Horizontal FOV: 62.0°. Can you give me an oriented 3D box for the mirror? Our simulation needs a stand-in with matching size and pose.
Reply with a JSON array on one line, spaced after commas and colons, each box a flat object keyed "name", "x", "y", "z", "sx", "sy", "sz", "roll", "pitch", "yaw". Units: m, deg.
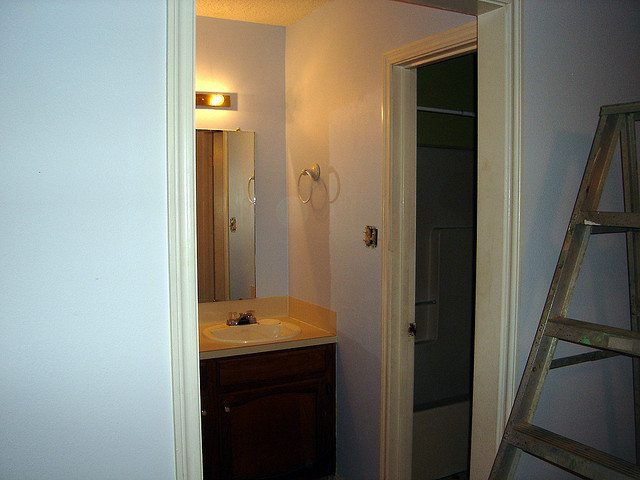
[{"name": "mirror", "x": -0.599, "y": -0.154, "z": 3.410, "sx": 0.408, "sy": 1.101, "sz": 0.137, "roll": -4, "pitch": 8, "yaw": -16}]
